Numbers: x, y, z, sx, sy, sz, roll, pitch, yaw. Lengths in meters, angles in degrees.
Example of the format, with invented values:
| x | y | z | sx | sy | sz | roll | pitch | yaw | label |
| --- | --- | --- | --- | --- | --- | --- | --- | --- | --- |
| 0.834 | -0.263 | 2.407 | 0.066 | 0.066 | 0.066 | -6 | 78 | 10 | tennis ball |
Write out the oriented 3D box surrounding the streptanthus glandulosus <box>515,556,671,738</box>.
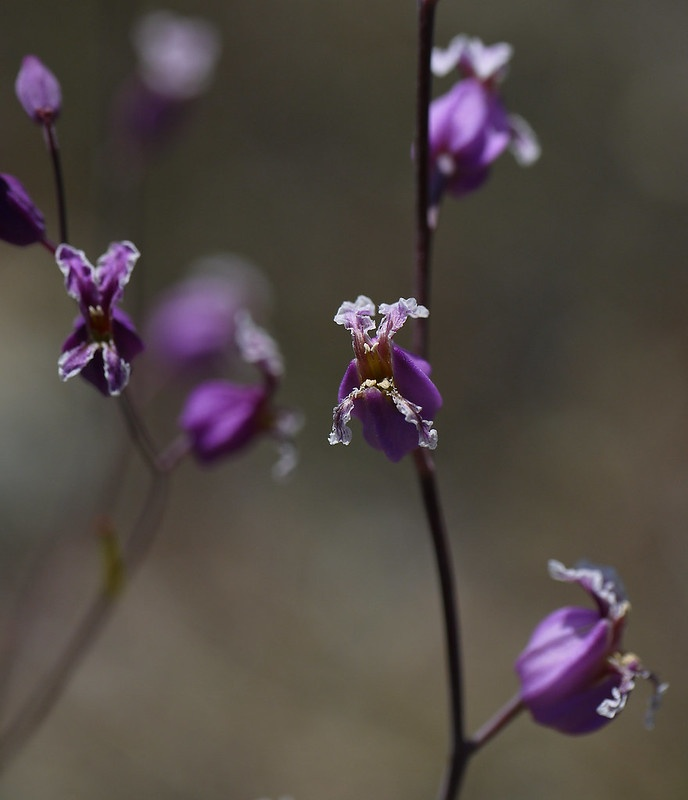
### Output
| x | y | z | sx | sy | sz | roll | pitch | yaw | label |
| --- | --- | --- | --- | --- | --- | --- | --- | --- | --- |
| 0.114 | 0.119 | 0.480 | 0.064 | 0.060 | 0.050 | 33 | -52 | -17 | streptanthus glandulosus |

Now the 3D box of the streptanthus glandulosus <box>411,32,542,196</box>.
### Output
| x | y | z | sx | sy | sz | roll | pitch | yaw | label |
| --- | --- | --- | --- | --- | --- | --- | --- | --- | --- |
| 0.069 | -0.140 | 0.498 | 0.051 | 0.084 | 0.064 | -2 | -49 | 12 | streptanthus glandulosus |

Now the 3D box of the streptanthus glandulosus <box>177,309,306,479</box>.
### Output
| x | y | z | sx | sy | sz | roll | pitch | yaw | label |
| --- | --- | --- | --- | --- | --- | --- | --- | --- | --- |
| -0.055 | -0.005 | 0.496 | 0.055 | 0.042 | 0.060 | -6 | -52 | 15 | streptanthus glandulosus |
